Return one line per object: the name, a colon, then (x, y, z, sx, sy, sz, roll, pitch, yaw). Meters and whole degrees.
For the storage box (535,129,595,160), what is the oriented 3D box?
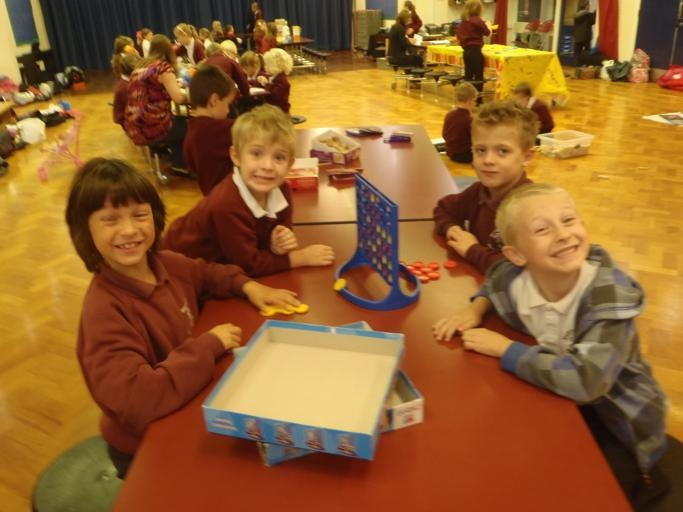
storage box: (2.334, -1.154, 5.403, 0.429, 0.184, 0.344, 0, 28, 9)
